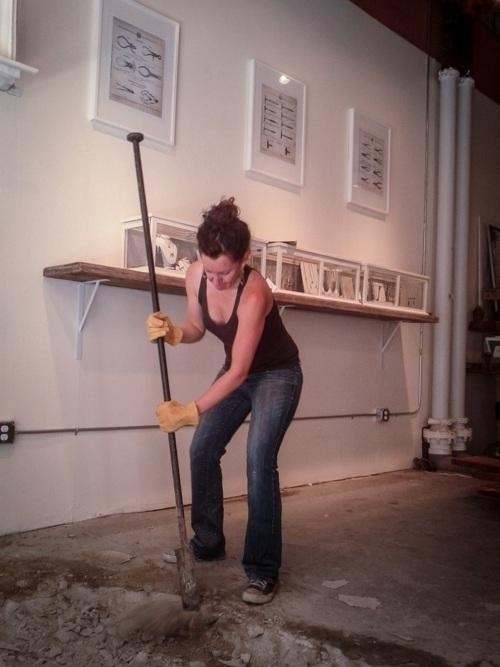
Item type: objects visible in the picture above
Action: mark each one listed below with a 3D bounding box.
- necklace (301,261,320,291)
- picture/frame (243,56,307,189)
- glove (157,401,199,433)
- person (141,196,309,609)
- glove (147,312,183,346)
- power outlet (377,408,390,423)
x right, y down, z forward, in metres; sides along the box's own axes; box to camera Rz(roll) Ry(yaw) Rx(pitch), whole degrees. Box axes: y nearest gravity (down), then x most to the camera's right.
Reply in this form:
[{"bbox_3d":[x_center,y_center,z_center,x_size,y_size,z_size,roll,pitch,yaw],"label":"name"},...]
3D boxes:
[{"bbox_3d":[0.356,-0.339,3.104,0.015,0.204,0.174,-10,-4,41],"label":"necklace"},{"bbox_3d":[0.172,-1.310,3.310,0.088,0.750,0.579,-1,-8,42],"label":"picture/frame"},{"bbox_3d":[-0.215,0.260,1.600,0.116,0.090,0.048,-7,-2,7],"label":"glove"},{"bbox_3d":[-0.068,0.234,1.728,0.513,1.208,0.524,-2,6,-14],"label":"person"},{"bbox_3d":[-0.320,-0.014,1.929,0.093,0.094,0.146,21,7,40],"label":"glove"},{"bbox_3d":[1.050,0.658,4.150,0.127,0.098,0.057,4,-2,-34],"label":"power outlet"}]
